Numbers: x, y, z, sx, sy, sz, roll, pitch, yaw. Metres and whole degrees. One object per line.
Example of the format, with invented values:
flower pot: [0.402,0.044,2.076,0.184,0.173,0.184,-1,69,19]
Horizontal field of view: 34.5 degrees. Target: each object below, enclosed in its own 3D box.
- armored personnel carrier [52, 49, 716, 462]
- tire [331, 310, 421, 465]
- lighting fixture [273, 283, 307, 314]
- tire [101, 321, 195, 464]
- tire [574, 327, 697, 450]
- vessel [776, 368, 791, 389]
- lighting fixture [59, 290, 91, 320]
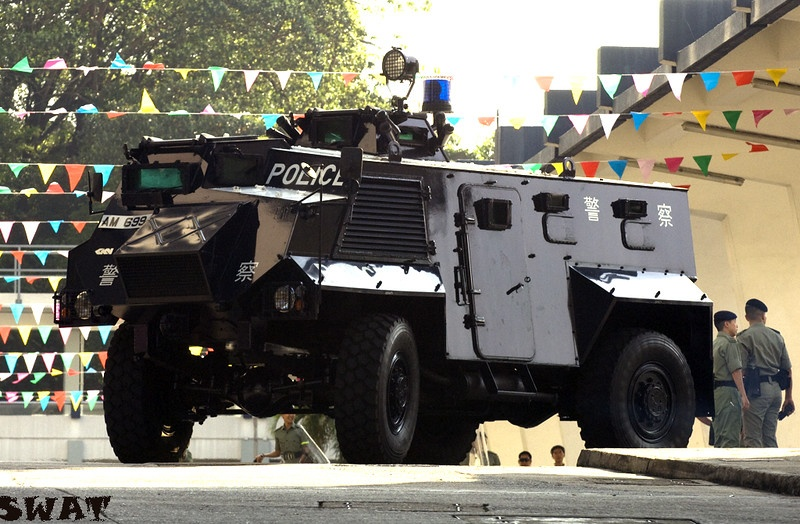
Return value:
armored personnel carrier: [-0.086,-0.013,14.122,6.746,4.708,3.098,1,6,-27]
tire: [-0.220,1.253,12.778,0.870,1.450,0.524,2,5,-14]
lighting fixture: [-1.091,0.360,12.547,0.275,0.282,0.067,0,-11,21]
tire: [-2.677,1.362,13.695,0.538,1.573,1.392,0,11,16]
tire: [2.630,1.431,14.504,1.333,1.331,0.441,5,-7,-37]
vessel: [5.151,1.562,17.145,0.205,0.275,0.073,-4,13,2]
lighting fixture: [-3.396,0.460,13.394,0.493,0.327,0.156,8,7,39]
